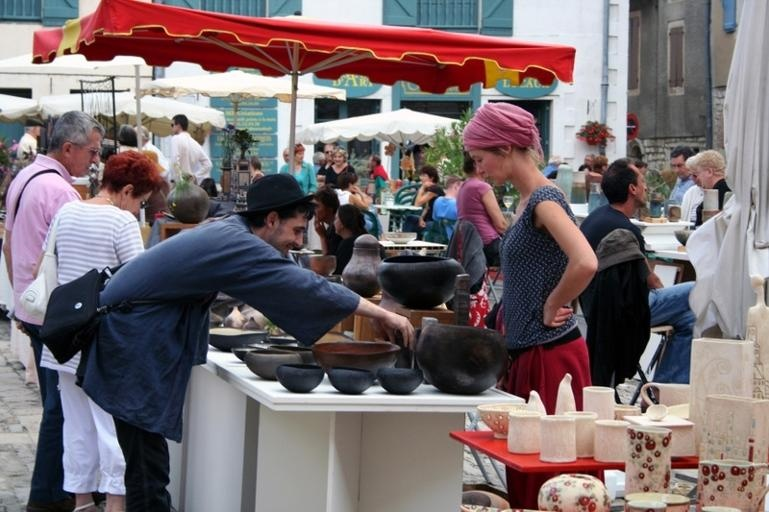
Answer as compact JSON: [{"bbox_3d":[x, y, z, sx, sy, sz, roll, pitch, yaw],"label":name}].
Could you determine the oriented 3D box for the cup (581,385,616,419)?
[{"bbox_3d":[1.164,0.833,6.496,0.181,0.206,0.184,0,2,0],"label":"cup"}]

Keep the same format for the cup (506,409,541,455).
[{"bbox_3d":[0.731,0.949,6.307,0.199,0.221,0.201,0,-4,0],"label":"cup"}]

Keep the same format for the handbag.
[{"bbox_3d":[-1.823,0.323,6.995,0.187,0.481,0.466,28,-25,-37],"label":"handbag"}]

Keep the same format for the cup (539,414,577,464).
[{"bbox_3d":[0.902,0.962,6.223,0.214,0.239,0.217,-1,1,0],"label":"cup"}]

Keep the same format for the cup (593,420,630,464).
[{"bbox_3d":[1.209,1.039,6.303,0.190,0.218,0.197,3,-32,2],"label":"cup"}]

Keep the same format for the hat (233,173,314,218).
[{"bbox_3d":[-0.657,-0.363,7.056,0.520,0.234,0.579,-14,1,-13],"label":"hat"}]

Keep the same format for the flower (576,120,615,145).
[{"bbox_3d":[3.753,-2.186,21.516,0.472,0.332,0.480,1,1,-3],"label":"flower"}]

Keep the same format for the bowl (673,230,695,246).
[{"bbox_3d":[2.490,-0.153,9.943,0.193,0.133,0.195,-1,-2,0],"label":"bowl"}]

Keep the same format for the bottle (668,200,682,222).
[{"bbox_3d":[2.760,-0.415,11.419,0.149,0.220,0.152,0,0,0],"label":"bottle"}]
